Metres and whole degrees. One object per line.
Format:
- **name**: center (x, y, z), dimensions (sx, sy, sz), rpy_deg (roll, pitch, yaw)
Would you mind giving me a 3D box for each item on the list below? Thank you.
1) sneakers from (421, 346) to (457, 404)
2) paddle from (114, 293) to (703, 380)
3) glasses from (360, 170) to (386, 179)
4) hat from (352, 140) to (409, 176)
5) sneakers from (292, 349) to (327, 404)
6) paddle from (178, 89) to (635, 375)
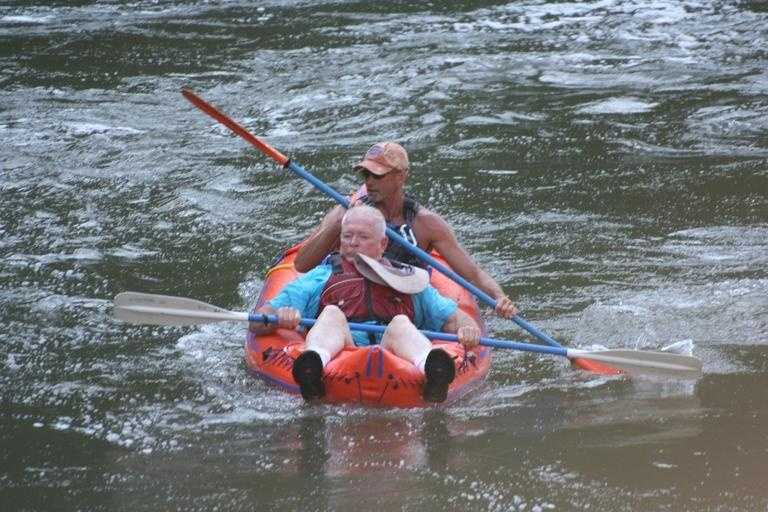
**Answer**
- **sneakers**: center (0.439, 0.925, 9.365), dimensions (0.242, 0.430, 0.199), rpy_deg (9, 12, 13)
- **paddle**: center (0.121, 0.705, 10.050), dimensions (4.313, 0.355, 0.153), rpy_deg (7, -14, -1)
- **glasses**: center (-0.090, -0.732, 10.428), dimensions (0.204, 0.075, 0.242), rpy_deg (-2, 12, -1)
- **hat**: center (-0.016, -0.911, 10.575), dimensions (0.530, 0.233, 0.359), rpy_deg (-11, 27, -42)
- **sneakers**: center (-0.585, 0.942, 9.334), dimensions (0.203, 0.410, 0.206), rpy_deg (-3, 11, 0)
- **paddle**: center (0.273, -0.191, 11.572), dimensions (5.481, 0.246, 0.920), rpy_deg (27, -1, -5)
